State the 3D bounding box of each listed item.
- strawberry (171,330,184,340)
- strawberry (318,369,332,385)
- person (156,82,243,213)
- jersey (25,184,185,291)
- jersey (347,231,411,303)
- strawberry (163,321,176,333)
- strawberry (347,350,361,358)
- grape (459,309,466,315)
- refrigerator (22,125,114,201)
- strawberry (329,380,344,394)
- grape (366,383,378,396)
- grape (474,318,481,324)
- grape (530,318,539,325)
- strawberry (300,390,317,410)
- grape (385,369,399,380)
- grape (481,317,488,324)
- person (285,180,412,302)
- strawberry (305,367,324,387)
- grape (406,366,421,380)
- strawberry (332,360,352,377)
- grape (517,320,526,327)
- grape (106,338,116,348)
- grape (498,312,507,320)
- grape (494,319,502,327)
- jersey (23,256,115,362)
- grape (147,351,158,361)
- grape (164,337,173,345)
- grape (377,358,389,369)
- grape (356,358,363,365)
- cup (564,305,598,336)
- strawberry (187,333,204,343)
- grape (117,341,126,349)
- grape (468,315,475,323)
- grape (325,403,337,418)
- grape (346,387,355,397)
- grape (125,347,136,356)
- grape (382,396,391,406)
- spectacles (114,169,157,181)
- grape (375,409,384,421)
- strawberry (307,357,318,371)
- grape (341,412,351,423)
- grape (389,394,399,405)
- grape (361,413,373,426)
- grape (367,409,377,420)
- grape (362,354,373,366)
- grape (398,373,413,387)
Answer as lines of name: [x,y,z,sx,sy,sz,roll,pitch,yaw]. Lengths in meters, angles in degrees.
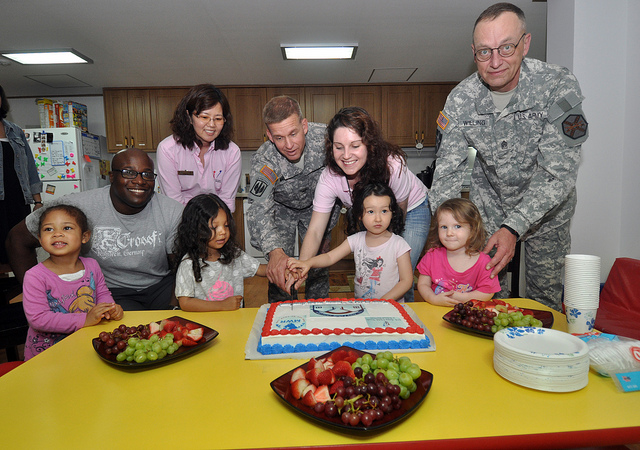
strawberry: [-0.498,0.382,1.477,0.034,0.024,0.034,-6,13,-21]
strawberry: [0.016,0.452,1.254,0.036,0.041,0.038,-22,7,26]
person: [-0.746,-0.387,2.671,0.486,0.896,0.469,-1,30,-26]
jersey: [-1.021,0.071,2.248,1.033,0.568,0.314,-1,20,-28]
jersey: [0.306,0.225,2.254,0.345,0.356,0.250,1,12,12]
strawberry: [-0.538,0.360,1.507,0.029,0.033,0.033,17,45,10]
strawberry: [0.109,0.420,1.371,0.039,0.018,0.053,0,13,3]
grape: [0.530,0.321,1.571,0.017,0.010,0.018,6,43,16]
refrigerator: [-3.174,-0.672,5.330,0.597,1.114,0.626,-6,1,-13]
strawberry: [0.051,0.477,1.251,0.042,0.032,0.049,1,13,10]
grape: [0.151,0.474,1.218,0.028,0.030,0.035,-17,47,-9]
grape: [0.569,0.346,1.526,0.017,0.017,0.021,-6,48,34]
grape: [0.760,0.341,1.495,0.024,0.021,0.019,-7,-15,32]
strawberry: [-0.033,0.506,1.220,0.038,0.038,0.037,-6,13,-22]
grape: [0.216,0.445,1.264,0.023,0.025,0.030,-9,2,-38]
grape: [0.592,0.342,1.523,0.020,0.020,0.020,36,2,24]
person: [0.154,0.069,2.371,0.772,0.836,0.254,-8,0,3]
strawberry: [-0.014,0.453,1.276,0.047,0.029,0.048,-38,44,-10]
grape: [0.283,0.442,1.276,0.040,0.034,0.032,6,3,8]
strawberry: [0.068,0.439,1.291,0.059,0.039,0.033,0,12,5]
grape: [0.713,0.347,1.496,0.019,0.011,0.017,3,9,42]
grape: [-0.695,0.393,1.405,0.024,0.025,0.014,-41,-1,-15]
grape: [0.653,0.325,1.512,0.019,0.024,0.019,21,-8,-23]
grape: [0.635,0.347,1.511,0.022,0.022,0.011,6,14,29]
jersey: [-1.078,0.320,1.874,0.366,0.293,0.322,5,14,26]
grape: [-0.548,0.426,1.380,0.031,0.022,0.015,-7,13,-24]
grape: [-0.512,0.391,1.426,0.024,0.019,0.022,-8,14,-28]
grape: [0.193,0.425,1.299,0.027,0.029,0.029,3,-30,-1]
grape: [0.125,0.426,1.317,0.015,0.015,0.016,-7,-30,5]
cup: [0.931,0.339,1.511,0.099,0.113,0.099,1,0,0]
strawberry: [-0.437,0.390,1.469,0.041,0.015,0.031,9,17,-20]
grape: [-0.654,0.394,1.391,0.020,0.022,0.021,1,7,5]
grape: [0.551,0.341,1.535,0.018,0.020,0.019,2,11,-1]
grape: [0.030,0.520,1.186,0.031,0.033,0.039,5,26,4]
grape: [0.088,0.479,1.218,0.023,0.024,0.023,21,-29,-10]
grape: [-0.618,0.412,1.378,0.026,0.021,0.020,-6,-8,21]
grape: [0.191,0.497,1.197,0.018,0.019,0.022,0,49,5]
spectacles: [-0.905,-0.249,2.086,0.193,0.064,0.105,-9,15,-32]
grape: [0.168,0.529,1.180,0.024,0.030,0.025,-1,-13,4]
strawberry: [-0.024,0.429,1.314,0.019,0.033,0.025,20,8,-16]
grape: [0.073,0.532,1.170,0.020,0.025,0.021,5,-16,0]
grape: [0.214,0.500,1.210,0.022,0.017,0.018,10,54,3]
grape: [0.129,0.533,1.162,0.024,0.027,0.030,-12,39,6]
grape: [0.145,0.525,1.175,0.024,0.026,0.024,5,-14,3]
grape: [0.149,0.422,1.316,0.027,0.033,0.027,3,-13,4]
grape: [0.253,0.457,1.247,0.028,0.030,0.037,-2,5,-14]
